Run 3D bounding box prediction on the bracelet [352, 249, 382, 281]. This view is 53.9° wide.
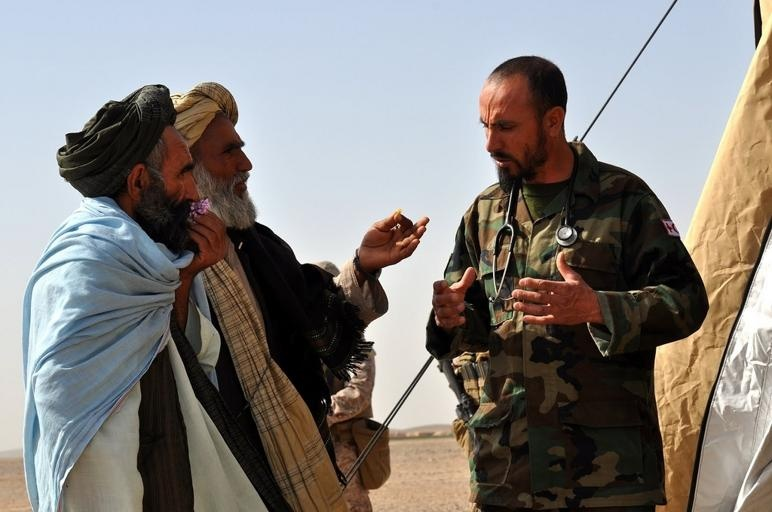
[{"bbox_3d":[-0.135,0.089,4.861,0.182,0.253,0.147,1,11,3],"label":"bracelet"}]
